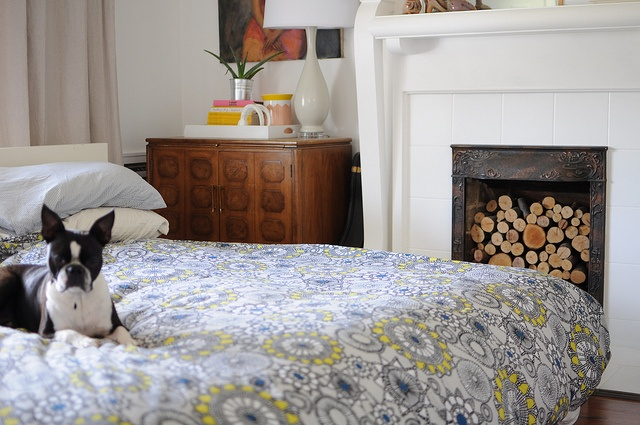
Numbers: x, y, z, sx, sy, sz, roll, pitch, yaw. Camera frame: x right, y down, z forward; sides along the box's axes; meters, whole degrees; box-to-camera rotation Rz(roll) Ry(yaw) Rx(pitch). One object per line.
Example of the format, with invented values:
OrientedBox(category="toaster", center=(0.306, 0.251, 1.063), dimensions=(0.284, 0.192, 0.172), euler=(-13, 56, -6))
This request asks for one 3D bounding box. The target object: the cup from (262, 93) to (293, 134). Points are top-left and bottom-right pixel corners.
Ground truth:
OrientedBox(category="cup", center=(-0.358, -0.840, 3.657), dimensions=(0.264, 0.252, 0.250), euler=(1, 24, 0))

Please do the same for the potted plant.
OrientedBox(category="potted plant", center=(-0.644, -1.083, 3.649), dimensions=(0.469, 0.394, 0.591), euler=(3, 13, -18))

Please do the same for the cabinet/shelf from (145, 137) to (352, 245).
OrientedBox(category="cabinet/shelf", center=(-0.643, -0.034, 3.620), dimensions=(1.235, 1.104, 0.713), euler=(3, 8, 15))
